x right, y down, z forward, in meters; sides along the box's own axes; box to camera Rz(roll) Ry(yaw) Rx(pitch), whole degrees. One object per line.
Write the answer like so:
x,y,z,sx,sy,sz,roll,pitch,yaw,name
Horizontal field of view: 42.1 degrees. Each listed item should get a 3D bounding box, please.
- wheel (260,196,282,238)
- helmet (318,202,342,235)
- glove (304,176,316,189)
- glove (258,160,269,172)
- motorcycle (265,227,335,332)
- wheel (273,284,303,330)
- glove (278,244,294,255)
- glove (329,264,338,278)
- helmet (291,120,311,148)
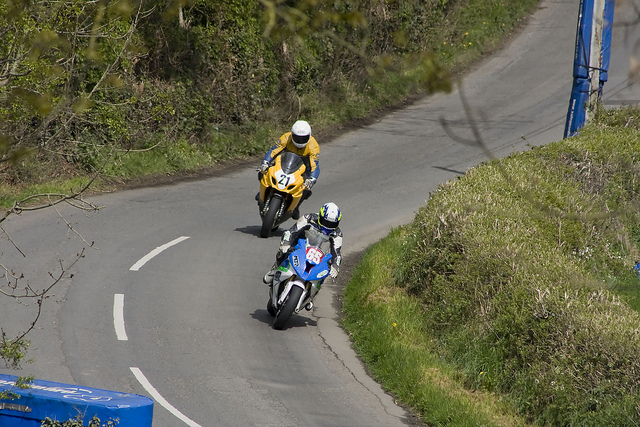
-1.243,0.054,20.369,0.194,0.761,0.756,19,31,8,wheel
0.152,0.061,16.697,0.476,0.597,0.673,15,21,-8,helmet
-0.269,-0.746,20.279,0.304,0.260,0.232,-12,18,-6,glove
-1.419,-1.151,20.366,0.269,0.275,0.262,-8,18,4,glove
-0.458,1.276,16.331,1.616,1.663,1.095,-24,23,-39,motorcycle
-0.660,1.806,16.068,0.159,0.787,0.810,26,-10,1,wheel
-0.710,0.731,16.445,0.227,0.191,0.249,-13,-23,-24,glove
0.231,1.167,16.388,0.151,0.291,0.379,-9,18,3,glove
-0.515,-1.982,20.349,0.457,0.557,0.614,3,39,-4,helmet
